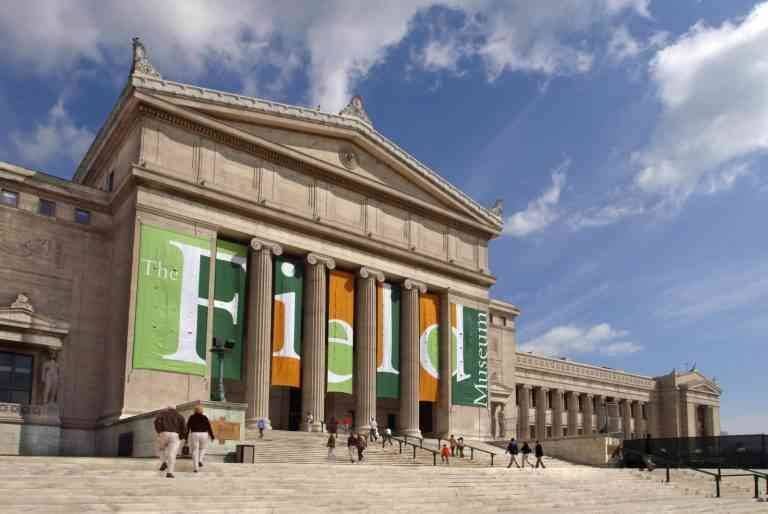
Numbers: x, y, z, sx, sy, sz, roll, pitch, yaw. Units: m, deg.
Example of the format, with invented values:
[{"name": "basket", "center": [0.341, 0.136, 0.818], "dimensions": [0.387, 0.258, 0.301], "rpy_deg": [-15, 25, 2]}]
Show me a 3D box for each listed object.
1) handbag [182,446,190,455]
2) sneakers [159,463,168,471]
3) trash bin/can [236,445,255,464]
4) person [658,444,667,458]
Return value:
[{"name": "handbag", "center": [-8.388, 8.106, 30.356], "dimensions": [0.340, 0.626, 0.342], "rpy_deg": [0, -13, -16]}, {"name": "sneakers", "center": [-8.737, 8.262, 28.511], "dimensions": [0.187, 0.141, 0.337], "rpy_deg": [22, -67, -13]}, {"name": "trash bin/can", "center": [-6.592, 9.476, 34.758], "dimensions": [0.883, 1.270, 0.878], "rpy_deg": [8, -17, -24]}, {"name": "person", "center": [17.840, 12.356, 46.172], "dimensions": [0.427, 0.822, 2.058], "rpy_deg": [-7, -22, 19]}]
